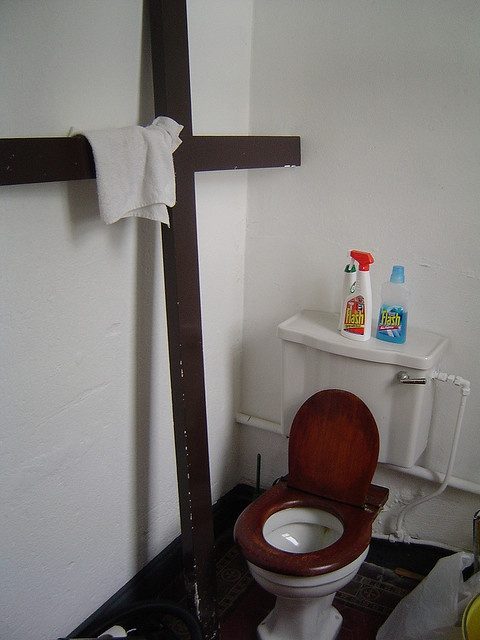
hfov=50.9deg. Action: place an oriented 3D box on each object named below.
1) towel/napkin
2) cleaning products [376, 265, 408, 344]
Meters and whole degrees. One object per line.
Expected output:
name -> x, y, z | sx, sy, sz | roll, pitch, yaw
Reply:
towel/napkin -> -0.195, -0.250, 0.920 | 0.049, 0.195, 0.170 | 4, 13, 41
cleaning products -> 0.404, -0.044, 1.329 | 0.075, 0.196, 0.071 | 6, 16, 20
